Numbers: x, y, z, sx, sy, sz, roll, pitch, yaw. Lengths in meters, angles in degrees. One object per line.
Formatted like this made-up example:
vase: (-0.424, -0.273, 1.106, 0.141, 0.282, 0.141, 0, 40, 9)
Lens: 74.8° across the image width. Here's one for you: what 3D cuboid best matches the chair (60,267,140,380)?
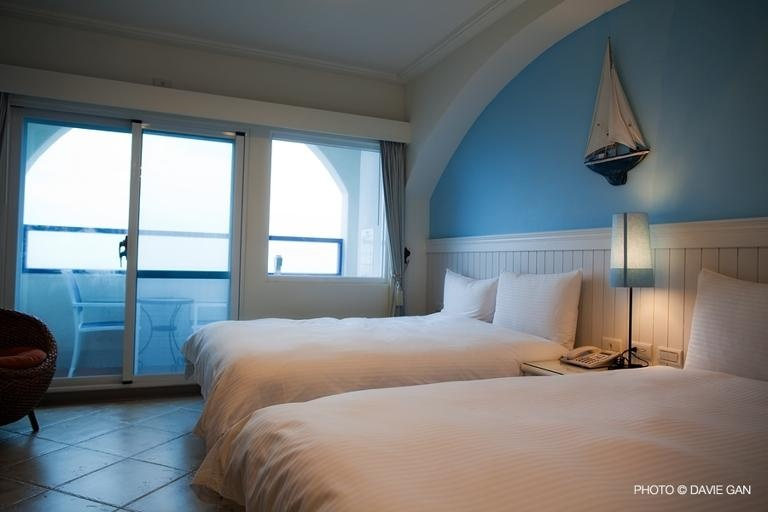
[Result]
chair: (-2.772, 0.587, 5.404, 0.807, 1.401, 0.794, 0, -1, -16)
